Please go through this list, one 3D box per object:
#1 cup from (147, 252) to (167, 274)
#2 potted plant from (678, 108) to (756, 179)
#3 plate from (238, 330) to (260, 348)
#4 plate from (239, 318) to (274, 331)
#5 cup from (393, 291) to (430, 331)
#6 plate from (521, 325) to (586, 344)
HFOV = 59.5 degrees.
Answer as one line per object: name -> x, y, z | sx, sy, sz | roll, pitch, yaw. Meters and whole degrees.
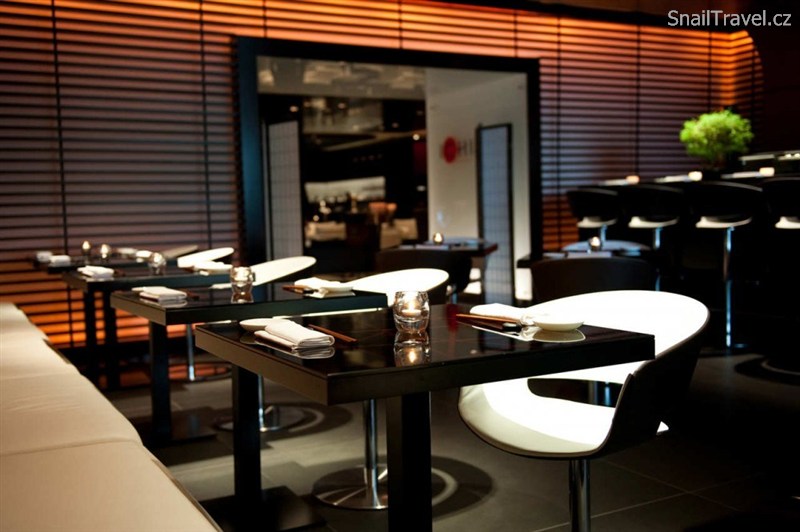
cup -> -1.719, -0.026, 5.026 | 0.145, 0.167, 0.156 | 3, -1, 0
potted plant -> 3.447, -1.314, 7.494 | 0.580, 0.553, 0.474 | 4, 8, 42
plate -> -0.646, 0.314, 2.994 | 0.073, 0.020, 0.199 | -5, 6, -18
plate -> -0.637, 0.262, 3.142 | 0.101, 0.046, 0.237 | -7, 7, -34
cup -> 0.047, 0.195, 3.012 | 0.177, 0.158, 0.172 | 0, -1, 0
plate -> 0.648, 0.286, 2.953 | 0.259, 0.033, 0.214 | -2, 6, 10
